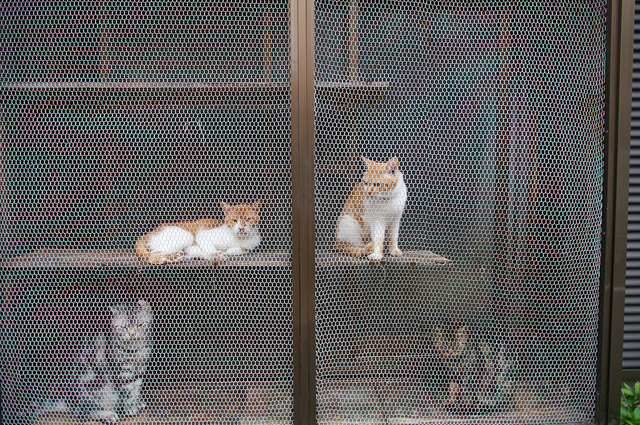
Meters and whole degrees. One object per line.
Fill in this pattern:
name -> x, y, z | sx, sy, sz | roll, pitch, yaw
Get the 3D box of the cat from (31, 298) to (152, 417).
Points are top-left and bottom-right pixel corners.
cat -> -0.832, 0.553, 4.230 | 0.463, 0.326, 0.545 | 2, -95, 15

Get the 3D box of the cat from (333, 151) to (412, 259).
cat -> 0.176, -0.039, 4.240 | 0.213, 0.288, 0.414 | -24, -60, -46

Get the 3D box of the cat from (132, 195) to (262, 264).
cat -> -0.460, 0.077, 4.202 | 0.396, 0.235, 0.244 | -3, -94, 13
